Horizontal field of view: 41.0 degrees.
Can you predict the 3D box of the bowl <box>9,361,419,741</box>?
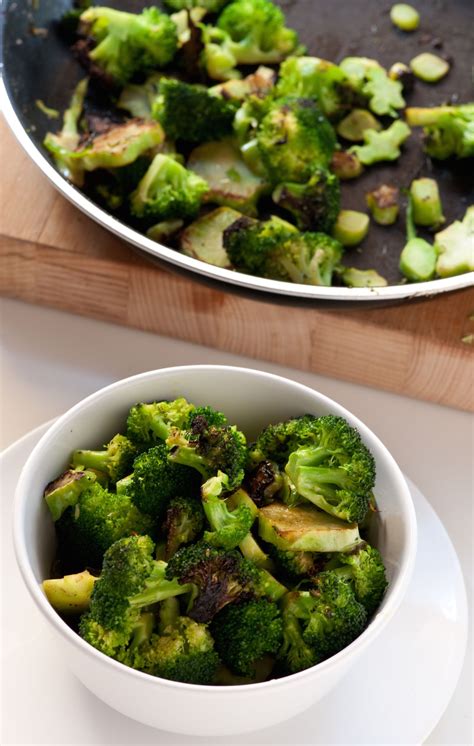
[{"bbox_3d":[-0.015,0.123,0.507,0.304,0.123,0.289,-2,43,2],"label":"bowl"}]
